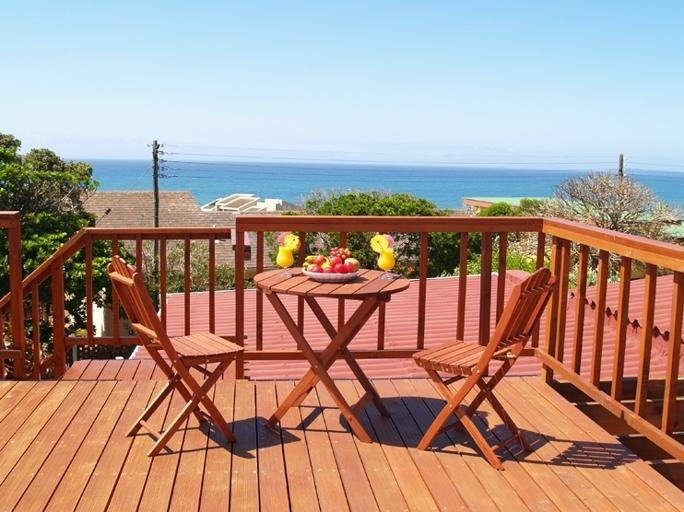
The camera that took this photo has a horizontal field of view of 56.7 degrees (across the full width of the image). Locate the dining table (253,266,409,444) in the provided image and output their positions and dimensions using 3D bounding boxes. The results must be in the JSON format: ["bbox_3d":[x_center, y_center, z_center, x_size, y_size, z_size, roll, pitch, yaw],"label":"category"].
[{"bbox_3d":[-0.069,0.588,3.827,0.897,0.861,0.867,2,5,6],"label":"dining table"}]

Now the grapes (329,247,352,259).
[{"bbox_3d":[-0.008,-0.020,3.860,0.063,0.053,0.112,10,5,-4],"label":"grapes"}]

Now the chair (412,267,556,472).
[{"bbox_3d":[0.796,0.589,3.551,0.716,1.019,0.648,1,2,22],"label":"chair"}]

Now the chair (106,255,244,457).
[{"bbox_3d":[-0.952,0.476,4.105,1.025,1.574,0.869,-3,9,-20],"label":"chair"}]
